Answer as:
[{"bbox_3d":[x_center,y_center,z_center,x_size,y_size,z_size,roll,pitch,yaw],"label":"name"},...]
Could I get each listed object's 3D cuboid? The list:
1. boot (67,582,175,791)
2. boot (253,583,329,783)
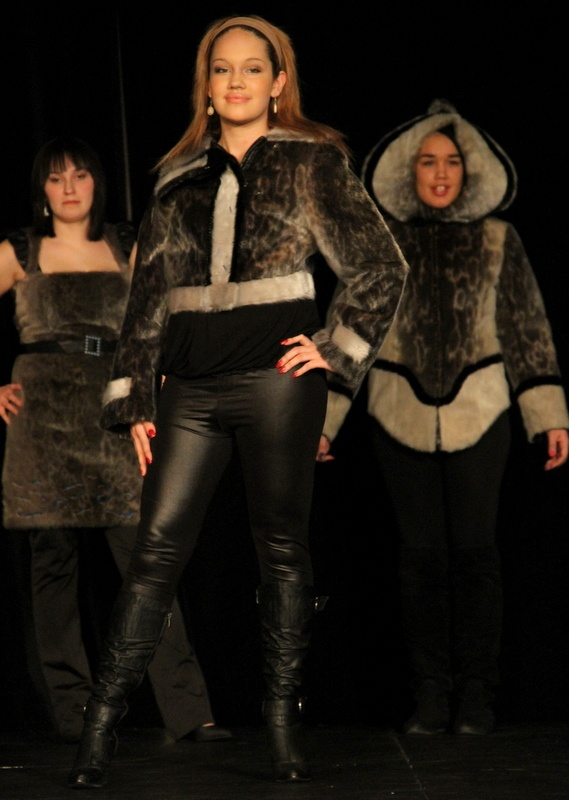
[{"bbox_3d":[-0.297,0.533,1.695,0.156,0.398,0.153,1,5,5],"label":"boot"},{"bbox_3d":[0.002,0.510,1.709,0.103,0.347,0.129,1,5,-2],"label":"boot"}]
